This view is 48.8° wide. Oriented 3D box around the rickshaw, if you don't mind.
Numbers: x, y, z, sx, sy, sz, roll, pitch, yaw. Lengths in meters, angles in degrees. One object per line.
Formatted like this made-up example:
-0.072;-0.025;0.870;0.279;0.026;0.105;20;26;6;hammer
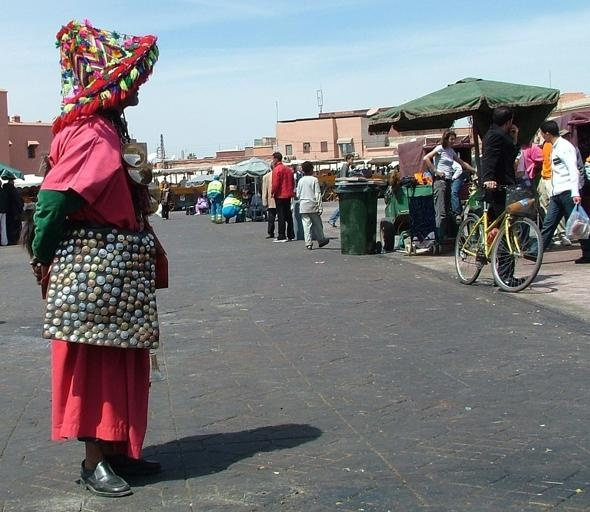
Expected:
2.761;-0.868;13.996;1.268;1.059;1.579;0;9;-9;rickshaw

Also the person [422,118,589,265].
3.018;-1.006;9.304;1.472;2.292;1.005;-1;1;-15;person

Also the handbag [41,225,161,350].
-0.940;0.163;3.173;0.542;0.611;0.257;-5;7;-12;handbag

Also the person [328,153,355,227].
1.610;-2.307;23.179;1.006;2.617;0.885;11;11;36;person

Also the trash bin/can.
1.408;-0.847;13.859;0.932;1.638;0.526;-3;7;3;trash bin/can
